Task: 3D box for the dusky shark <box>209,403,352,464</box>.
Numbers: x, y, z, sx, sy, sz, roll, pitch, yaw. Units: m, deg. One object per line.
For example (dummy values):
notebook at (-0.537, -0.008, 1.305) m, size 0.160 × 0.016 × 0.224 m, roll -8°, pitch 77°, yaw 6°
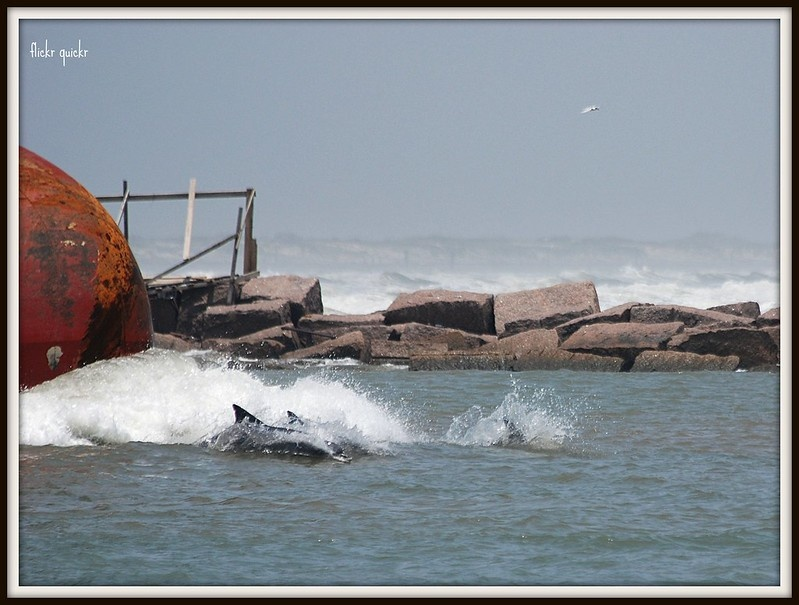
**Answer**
dusky shark at (-1.466, 1.771, 21.788) m, size 1.807 × 0.591 × 0.741 m, roll 6°, pitch 14°, yaw 13°
